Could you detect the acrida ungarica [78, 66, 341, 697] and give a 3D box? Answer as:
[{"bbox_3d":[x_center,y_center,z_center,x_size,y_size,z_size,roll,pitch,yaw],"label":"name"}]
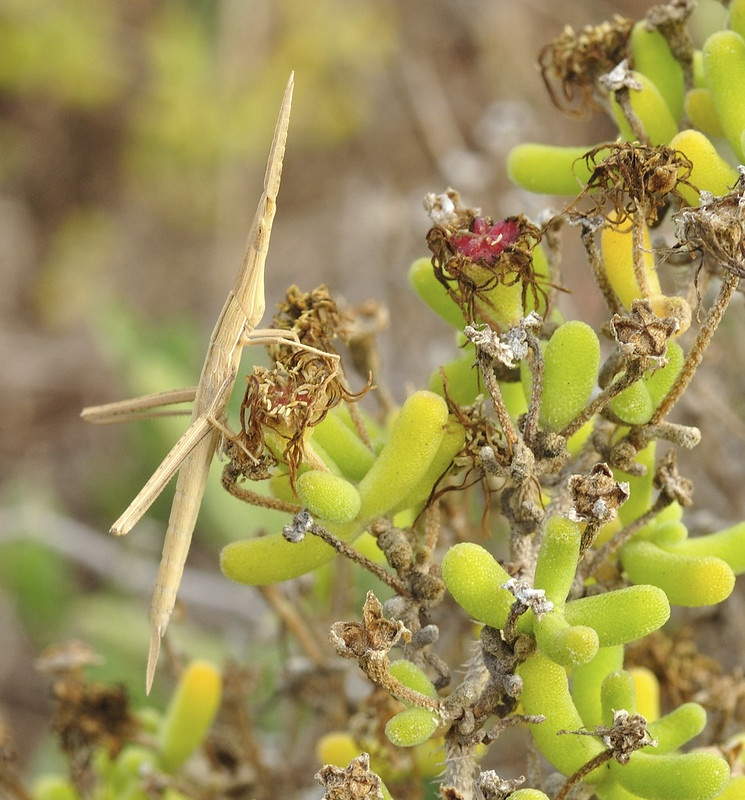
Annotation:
[{"bbox_3d":[-0.118,-0.005,0.971,0.159,0.468,0.133,13,-8,26],"label":"acrida ungarica"}]
